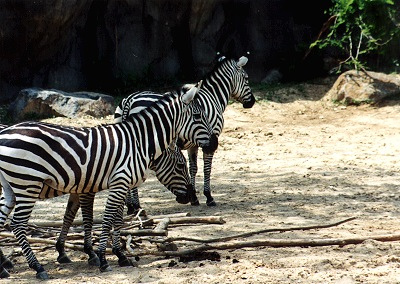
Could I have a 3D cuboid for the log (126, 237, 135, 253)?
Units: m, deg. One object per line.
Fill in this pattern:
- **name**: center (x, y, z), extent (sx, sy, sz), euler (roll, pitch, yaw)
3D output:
- **log**: center (-1.117, 1.637, 9.748), extent (0.109, 0.069, 0.269), euler (-28, 38, 7)
